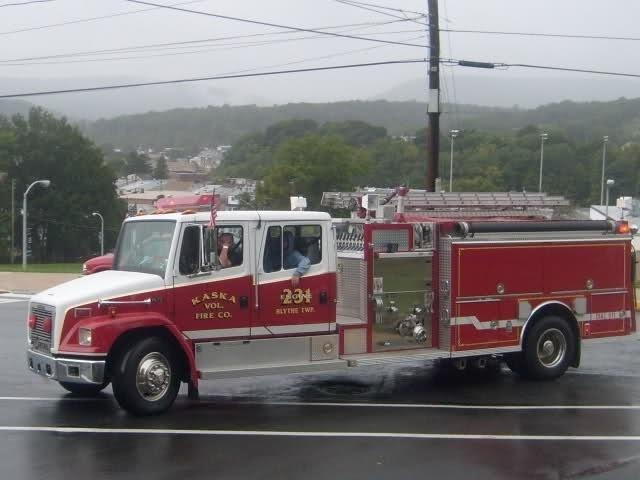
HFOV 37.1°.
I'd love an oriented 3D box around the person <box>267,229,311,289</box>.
[{"bbox_3d":[-0.507,0.320,15.725,0.591,1.065,0.526,-1,3,-33],"label":"person"}]
